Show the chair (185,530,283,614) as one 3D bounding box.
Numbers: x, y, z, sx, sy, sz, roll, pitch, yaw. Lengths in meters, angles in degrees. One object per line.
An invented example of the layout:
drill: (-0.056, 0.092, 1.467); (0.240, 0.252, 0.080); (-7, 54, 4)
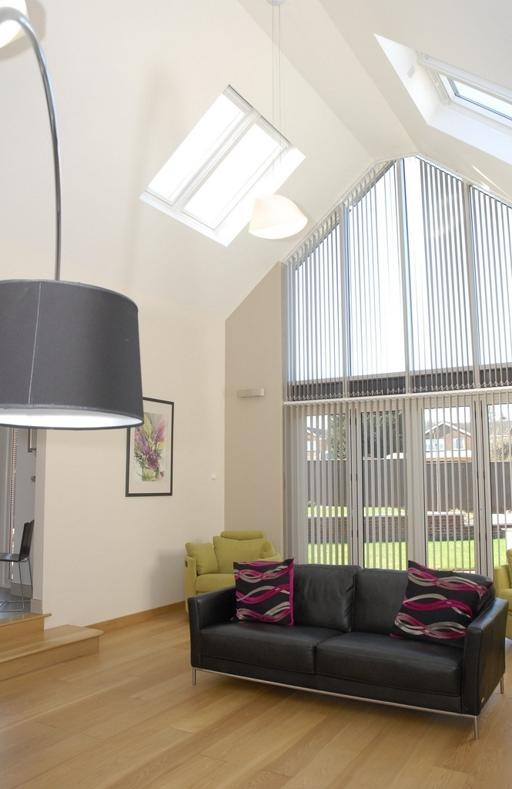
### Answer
chair: (-0.358, 1.706, 5.997); (0.922, 0.952, 0.949); (-5, -22, 12)

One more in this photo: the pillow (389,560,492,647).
pillow: (1.143, 1.281, 3.552); (0.529, 0.437, 0.305); (-9, -13, 39)

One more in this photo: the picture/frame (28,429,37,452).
picture/frame: (-2.600, 0.534, 6.617); (0.074, 0.230, 0.558); (4, -12, -23)

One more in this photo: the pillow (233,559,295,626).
pillow: (0.063, 1.423, 4.068); (0.333, 0.372, 0.135); (-6, -37, 18)

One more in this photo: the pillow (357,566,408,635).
pillow: (0.827, 1.402, 3.871); (0.340, 0.366, 0.120); (-8, -30, 40)

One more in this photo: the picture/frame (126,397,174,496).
picture/frame: (-1.163, 0.574, 6.344); (0.107, 1.108, 0.824); (-4, -11, 23)
